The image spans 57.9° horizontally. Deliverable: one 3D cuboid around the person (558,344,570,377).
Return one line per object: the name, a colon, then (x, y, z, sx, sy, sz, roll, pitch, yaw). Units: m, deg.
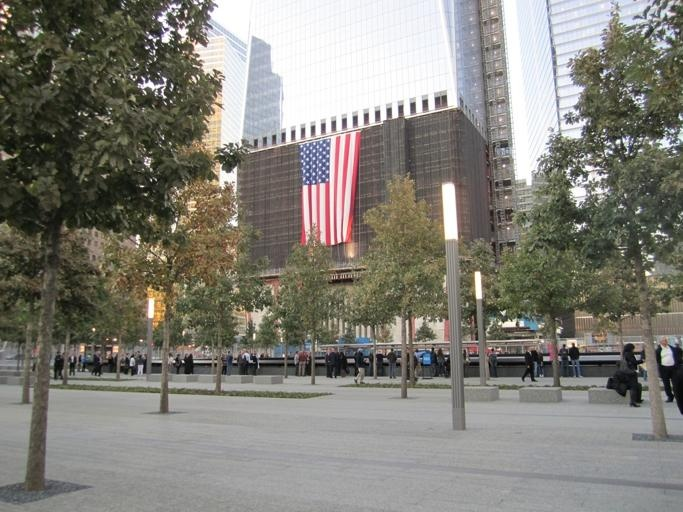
person: (12.270, 5.743, 34.062, 0.425, 1.747, 1.710, -4, -10, 20)

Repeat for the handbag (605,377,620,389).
handbag: (8.949, 4.185, 20.309, 0.194, 0.539, 0.573, 3, -11, -23)

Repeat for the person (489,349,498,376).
person: (8.818, 6.330, 35.956, 0.414, 1.395, 1.737, -3, -11, 15)

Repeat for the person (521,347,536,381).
person: (9.866, 5.782, 32.748, 0.600, 1.717, 4.264, -3, -11, 16)
